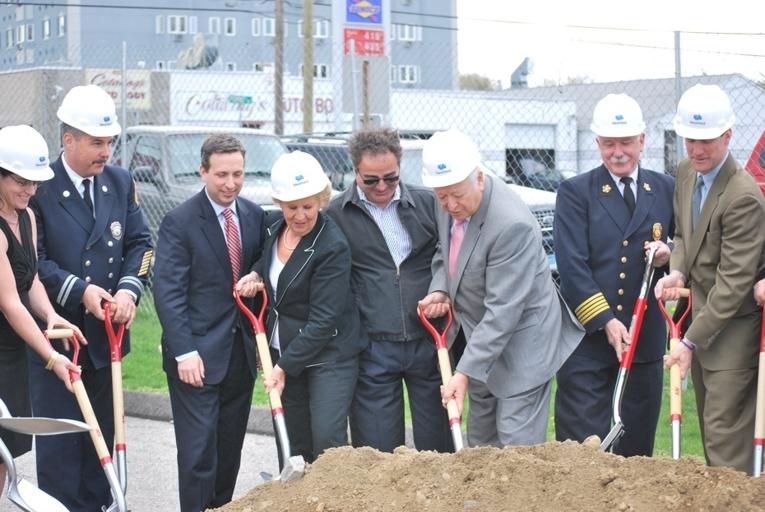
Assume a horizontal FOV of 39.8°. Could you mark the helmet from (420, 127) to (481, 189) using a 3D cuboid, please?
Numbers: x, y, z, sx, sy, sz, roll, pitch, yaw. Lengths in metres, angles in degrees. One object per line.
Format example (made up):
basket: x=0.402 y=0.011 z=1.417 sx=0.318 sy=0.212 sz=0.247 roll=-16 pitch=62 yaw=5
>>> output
helmet: x=0.498 y=-0.748 z=8.031 sx=0.353 sy=0.253 sz=0.455 roll=-18 pitch=18 yaw=19

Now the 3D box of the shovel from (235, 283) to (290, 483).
shovel: x=-0.921 y=0.925 z=8.356 sx=0.296 sy=1.702 sz=0.285 roll=-14 pitch=-30 yaw=-4

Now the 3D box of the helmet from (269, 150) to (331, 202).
helmet: x=-0.653 y=-0.632 z=8.337 sx=0.449 sy=0.380 sz=0.278 roll=-1 pitch=9 yaw=-6

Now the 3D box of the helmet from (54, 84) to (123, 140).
helmet: x=-2.357 y=-1.171 z=8.476 sx=0.474 sy=0.261 sz=0.383 roll=32 pitch=23 yaw=35

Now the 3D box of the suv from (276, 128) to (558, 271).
suv: x=0.428 y=-0.824 z=13.432 sx=2.914 sy=1.573 sz=1.836 roll=3 pitch=4 yaw=39

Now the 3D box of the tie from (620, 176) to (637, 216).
tie: x=2.043 y=-0.506 z=8.826 sx=0.109 sy=0.323 sz=0.086 roll=-3 pitch=-2 yaw=1

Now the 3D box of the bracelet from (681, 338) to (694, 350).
bracelet: x=2.401 y=0.693 z=8.287 sx=0.094 sy=0.040 sz=0.083 roll=35 pitch=-3 yaw=-3

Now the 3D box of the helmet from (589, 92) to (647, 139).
helmet: x=1.928 y=-1.158 z=8.682 sx=0.413 sy=0.351 sz=0.255 roll=2 pitch=9 yaw=13

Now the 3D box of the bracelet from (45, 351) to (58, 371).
bracelet: x=-2.517 y=0.794 z=8.060 sx=0.112 sy=0.094 sz=0.114 roll=24 pitch=3 yaw=-9

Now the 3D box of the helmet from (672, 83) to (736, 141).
helmet: x=2.526 y=-1.128 z=8.314 sx=0.347 sy=0.256 sz=0.489 roll=9 pitch=35 yaw=27

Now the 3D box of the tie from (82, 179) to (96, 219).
tie: x=-2.413 y=-0.486 z=8.650 sx=0.071 sy=0.338 sz=0.058 roll=-6 pitch=-13 yaw=-1
